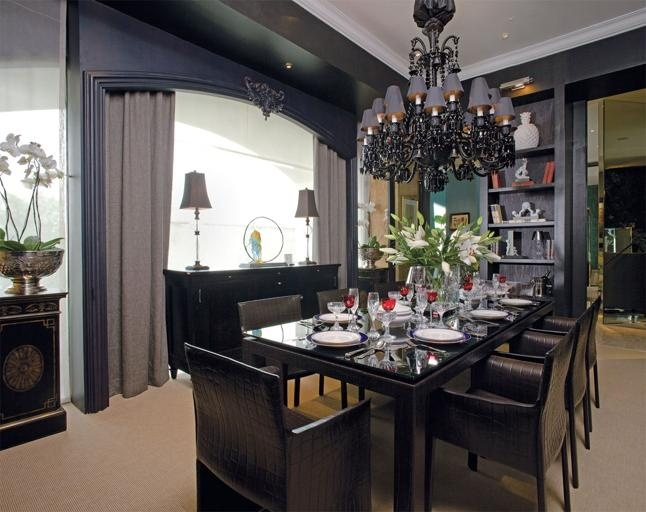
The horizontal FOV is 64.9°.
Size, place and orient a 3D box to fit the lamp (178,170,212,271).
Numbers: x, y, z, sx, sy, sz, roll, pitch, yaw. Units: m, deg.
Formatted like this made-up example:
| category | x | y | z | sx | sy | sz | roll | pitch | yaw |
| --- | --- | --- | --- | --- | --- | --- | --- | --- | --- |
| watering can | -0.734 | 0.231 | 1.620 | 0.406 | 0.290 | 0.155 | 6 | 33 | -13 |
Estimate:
| category | x | y | z | sx | sy | sz | roll | pitch | yaw |
| --- | --- | --- | --- | --- | --- | --- | --- | --- | --- |
| lamp | -1.200 | -0.337 | 4.840 | 0.266 | 0.907 | 0.716 | -3 | 4 | -15 |

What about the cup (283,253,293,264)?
| category | x | y | z | sx | sy | sz | roll | pitch | yaw |
| --- | --- | --- | --- | --- | --- | --- | --- | --- | --- |
| cup | -0.365 | 0.031 | 5.524 | 0.096 | 0.150 | 0.102 | 1 | 4 | 0 |

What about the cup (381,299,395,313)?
| category | x | y | z | sx | sy | sz | roll | pitch | yaw |
| --- | --- | --- | --- | --- | --- | --- | --- | --- | --- |
| cup | 0.406 | 0.299 | 3.118 | 0.064 | 0.061 | 0.073 | 2 | -7 | -18 |

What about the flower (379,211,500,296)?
| category | x | y | z | sx | sy | sz | roll | pitch | yaw |
| --- | --- | --- | --- | --- | --- | --- | --- | --- | --- |
| flower | 0.903 | -0.040 | 3.906 | 0.930 | 0.709 | 0.871 | 2 | 2 | 25 |

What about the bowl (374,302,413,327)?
| category | x | y | z | sx | sy | sz | roll | pitch | yaw |
| --- | --- | --- | --- | --- | --- | --- | --- | --- | --- |
| bowl | 0.521 | 0.395 | 3.402 | 0.191 | 0.124 | 0.202 | -1 | -4 | 0 |

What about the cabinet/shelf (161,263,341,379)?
| category | x | y | z | sx | sy | sz | roll | pitch | yaw |
| --- | --- | --- | --- | --- | --- | --- | --- | --- | --- |
| cabinet/shelf | -0.616 | 0.552 | 5.139 | 1.704 | 1.063 | 0.529 | -2 | 13 | -35 |

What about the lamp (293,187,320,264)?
| category | x | y | z | sx | sy | sz | roll | pitch | yaw |
| --- | --- | --- | --- | --- | --- | --- | --- | --- | --- |
| lamp | -0.165 | -0.309 | 5.535 | 0.233 | 0.798 | 0.228 | -2 | 2 | -37 |

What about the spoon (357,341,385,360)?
| category | x | y | z | sx | sy | sz | roll | pitch | yaw |
| --- | --- | --- | --- | --- | --- | --- | --- | --- | --- |
| spoon | 0.280 | 0.553 | 3.030 | 0.063 | 0.041 | 0.272 | 5 | 7 | 30 |

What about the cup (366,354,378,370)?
| category | x | y | z | sx | sy | sz | roll | pitch | yaw |
| --- | --- | --- | --- | --- | --- | --- | --- | --- | --- |
| cup | 0.288 | 0.595 | 2.891 | 0.041 | 0.117 | 0.044 | 0 | -3 | 0 |

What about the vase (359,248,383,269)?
| category | x | y | z | sx | sy | sz | roll | pitch | yaw |
| --- | --- | --- | --- | --- | --- | --- | --- | --- | --- |
| vase | 0.612 | 0.029 | 6.315 | 0.231 | 0.211 | 0.263 | 1 | -7 | 6 |

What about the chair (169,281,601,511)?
| category | x | y | z | sx | sy | sz | roll | pitch | yaw |
| --- | --- | --- | --- | --- | --- | --- | --- | --- | --- |
| chair | 0.337 | 0.768 | 4.207 | 2.388 | 1.347 | 3.214 | -5 | 4 | -40 |

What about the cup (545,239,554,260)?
| category | x | y | z | sx | sy | sz | roll | pitch | yaw |
| --- | --- | --- | --- | --- | --- | --- | --- | --- | --- |
| cup | 2.478 | -0.075 | 5.574 | 0.081 | 0.216 | 0.150 | -1 | 4 | 19 |
